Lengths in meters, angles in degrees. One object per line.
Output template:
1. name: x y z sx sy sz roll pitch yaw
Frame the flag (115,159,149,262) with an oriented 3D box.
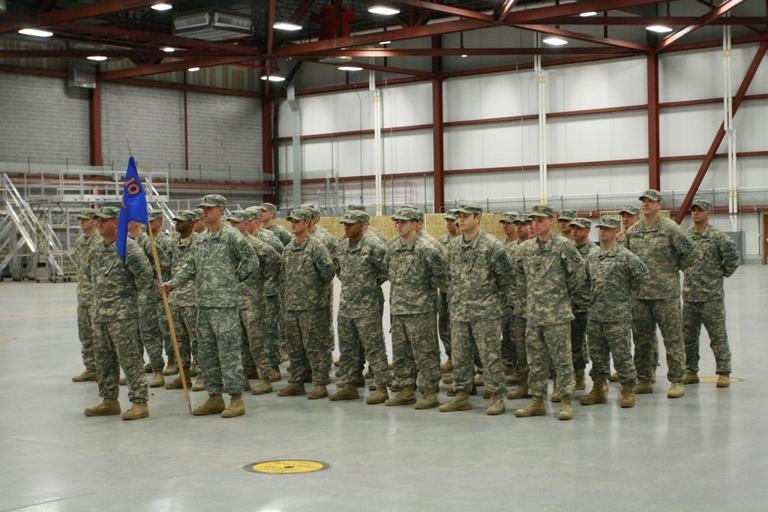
1. flag: -4.416 -0.870 18.669 0.584 1.699 1.181 -6 15 -13

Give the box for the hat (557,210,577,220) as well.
1. hat: 3.253 -0.702 19.128 0.189 0.101 0.258 -6 -10 43

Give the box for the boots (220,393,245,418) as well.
1. boots: -2.610 2.540 18.548 0.429 0.340 0.408 -4 14 -9

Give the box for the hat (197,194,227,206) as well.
1. hat: -3.098 -0.932 18.762 0.559 0.204 0.677 -1 2 -32

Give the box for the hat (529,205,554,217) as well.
1. hat: 2.711 -0.743 18.445 0.379 0.236 0.374 0 14 9

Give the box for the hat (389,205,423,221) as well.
1. hat: 0.445 -0.746 19.056 0.339 0.147 0.456 -3 -5 40

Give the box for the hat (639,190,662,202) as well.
1. hat: 4.869 -1.074 19.493 0.297 0.127 0.427 -2 -6 39

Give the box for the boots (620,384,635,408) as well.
1. boots: 4.171 2.381 18.536 0.241 0.345 0.304 1 15 11

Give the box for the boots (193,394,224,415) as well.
1. boots: -3.043 2.537 18.635 0.557 0.321 0.338 -3 14 -5

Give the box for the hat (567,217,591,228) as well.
1. hat: 3.506 -0.575 19.339 0.227 0.099 0.336 -1 -3 38

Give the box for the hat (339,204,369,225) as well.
1. hat: -0.470 -0.733 19.572 0.530 0.225 0.368 2 -2 -41
